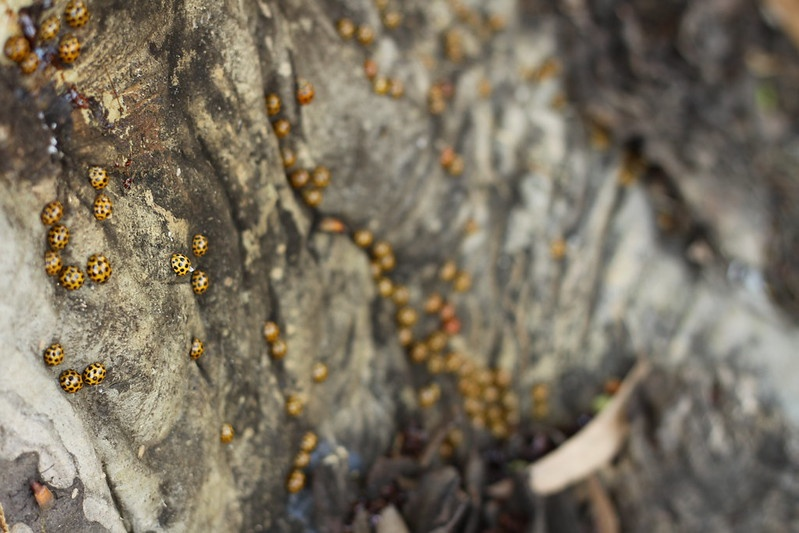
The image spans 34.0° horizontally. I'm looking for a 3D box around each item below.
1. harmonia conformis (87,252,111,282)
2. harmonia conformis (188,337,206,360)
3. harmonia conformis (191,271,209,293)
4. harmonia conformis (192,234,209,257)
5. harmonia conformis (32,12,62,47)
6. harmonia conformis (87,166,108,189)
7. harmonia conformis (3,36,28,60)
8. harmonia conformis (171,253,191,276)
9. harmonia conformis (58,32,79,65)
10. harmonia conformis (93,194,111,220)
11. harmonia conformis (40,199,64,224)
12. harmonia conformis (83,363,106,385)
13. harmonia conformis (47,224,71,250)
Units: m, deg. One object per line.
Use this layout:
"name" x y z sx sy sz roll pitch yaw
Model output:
"harmonia conformis" -1.537 0.009 6.764 0.103 0.147 0.070 -24 12 -31
"harmonia conformis" -1.102 0.450 7.194 0.034 0.118 0.076 8 10 19
"harmonia conformis" -1.079 0.081 7.141 0.031 0.117 0.089 4 4 37
"harmonia conformis" -1.079 -0.114 7.152 0.049 0.127 0.102 12 5 34
"harmonia conformis" -1.756 -1.194 6.607 0.080 0.171 0.050 27 -9 -22
"harmonia conformis" -1.552 -0.460 6.808 0.109 0.121 0.040 9 5 -17
"harmonia conformis" -1.891 -1.092 6.522 0.102 0.118 0.058 -30 16 -19
"harmonia conformis" -1.159 -0.005 7.072 0.059 0.118 0.153 13 5 39
"harmonia conformis" -1.667 -1.108 6.678 0.117 0.157 0.039 7 5 -27
"harmonia conformis" -1.524 -0.308 6.785 0.081 0.130 0.031 3 1 -39
"harmonia conformis" -1.753 -0.272 6.672 0.086 0.114 0.064 44 -9 -15
"harmonia conformis" -1.573 0.561 6.830 0.079 0.103 0.113 11 -4 1
"harmonia conformis" -1.725 -0.156 6.683 0.084 0.136 0.068 5 4 -18
